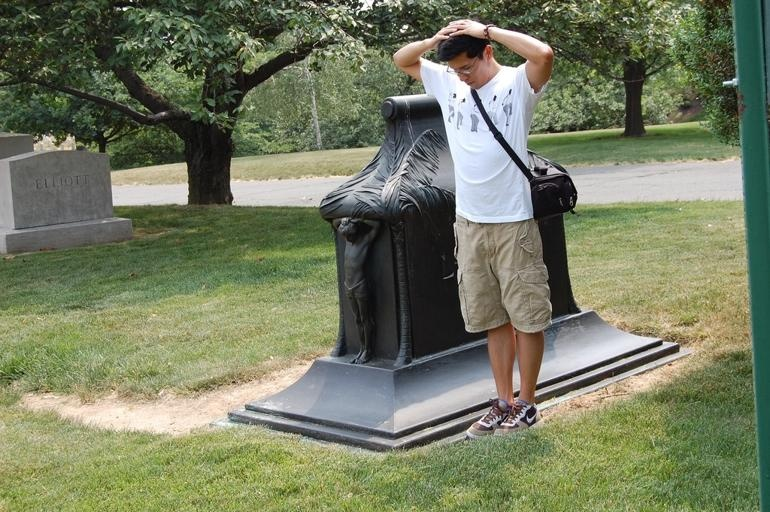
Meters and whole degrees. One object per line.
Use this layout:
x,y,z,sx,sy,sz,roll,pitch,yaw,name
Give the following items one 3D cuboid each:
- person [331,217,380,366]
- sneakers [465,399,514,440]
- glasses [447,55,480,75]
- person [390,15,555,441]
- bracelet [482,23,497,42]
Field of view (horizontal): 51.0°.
-0.186,0.295,7.254,0.363,1.296,0.229,-4,8,0,person
0.872,1.275,6.601,0.523,0.223,0.181,-21,22,-35,sneakers
0.624,-1.477,6.285,0.232,0.130,0.102,-2,8,14,glasses
0.845,-0.226,6.498,1.096,3.285,0.614,0,9,23,person
0.814,-1.738,6.293,0.086,0.139,0.179,-2,8,9,bracelet
